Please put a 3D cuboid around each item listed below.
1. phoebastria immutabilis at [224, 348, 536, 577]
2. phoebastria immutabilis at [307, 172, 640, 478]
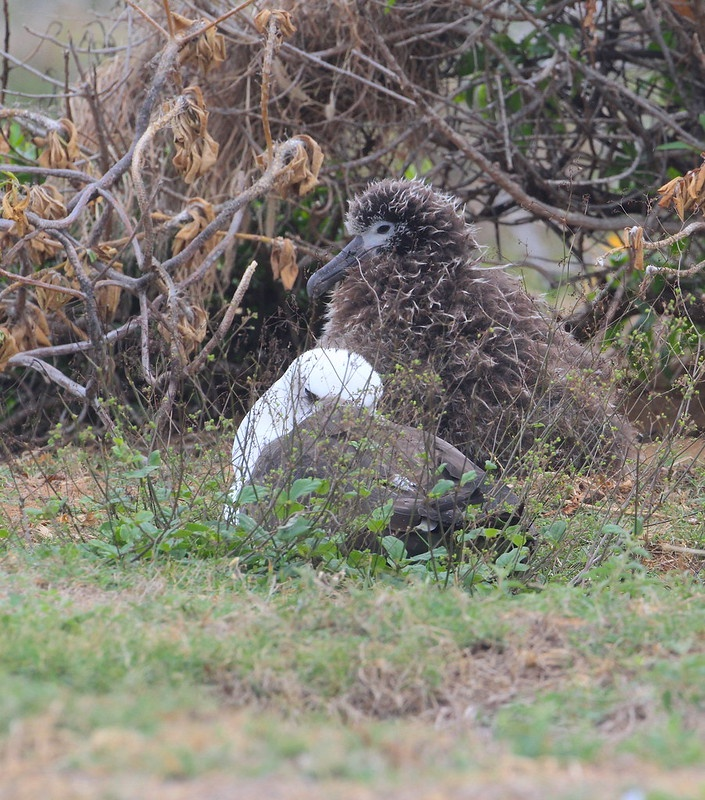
[{"bbox_3d":[0.173,0.249,4.459,1.222,0.787,0.731,3,3,40],"label":"phoebastria immutabilis"},{"bbox_3d":[0.477,-0.325,5.544,1.494,1.191,0.946,-1,21,-19],"label":"phoebastria immutabilis"}]
